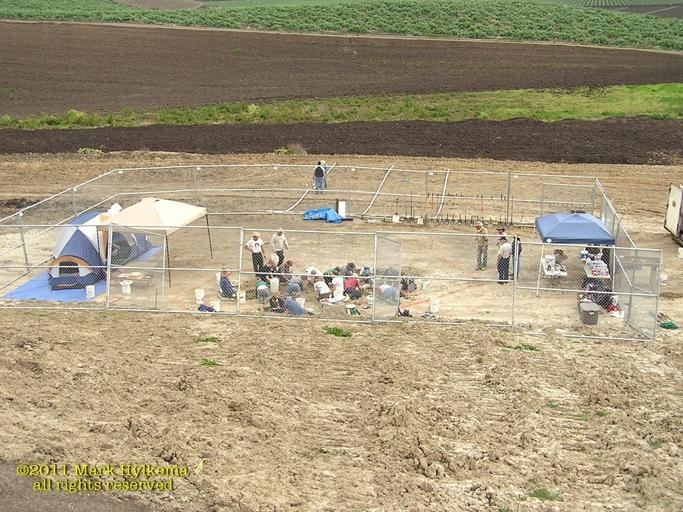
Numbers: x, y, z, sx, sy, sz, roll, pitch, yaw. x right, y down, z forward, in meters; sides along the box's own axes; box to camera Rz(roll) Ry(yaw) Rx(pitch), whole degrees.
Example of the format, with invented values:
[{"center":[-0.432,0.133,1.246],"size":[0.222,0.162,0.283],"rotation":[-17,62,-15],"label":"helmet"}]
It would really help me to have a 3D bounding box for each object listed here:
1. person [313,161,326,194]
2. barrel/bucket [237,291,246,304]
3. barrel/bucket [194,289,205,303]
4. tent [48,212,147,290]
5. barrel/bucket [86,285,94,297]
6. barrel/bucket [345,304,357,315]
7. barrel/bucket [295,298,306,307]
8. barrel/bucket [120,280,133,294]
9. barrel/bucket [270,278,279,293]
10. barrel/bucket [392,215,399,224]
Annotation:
[{"center":[-1.090,-3.964,49.871],"size":[0.541,1.579,0.934],"rotation":[1,11,-2],"label":"person"},{"center":[-3.833,1.583,38.633],"size":[0.432,0.479,0.405],"rotation":[0,3,0],"label":"barrel/bucket"},{"center":[-5.489,1.490,38.932],"size":[0.363,0.557,0.824],"rotation":[-1,11,-8],"label":"barrel/bucket"},{"center":[-9.947,-0.315,41.199],"size":[2.722,2.015,3.930],"rotation":[6,20,12],"label":"tent"},{"center":[-9.849,1.358,39.353],"size":[0.439,0.481,0.408],"rotation":[0,7,0],"label":"barrel/bucket"},{"center":[0.403,2.023,38.174],"size":[0.516,0.359,0.390],"rotation":[1,11,1],"label":"barrel/bucket"},{"center":[-1.589,1.725,38.479],"size":[0.295,0.207,0.298],"rotation":[0,3,0],"label":"barrel/bucket"},{"center":[-8.381,1.185,39.161],"size":[0.515,0.446,0.483],"rotation":[0,6,0],"label":"barrel/bucket"},{"center":[-2.624,1.144,39.110],"size":[0.547,0.546,0.512],"rotation":[0,8,0],"label":"barrel/bucket"},{"center":[2.506,-1.760,46.436],"size":[0.428,0.374,0.292],"rotation":[2,23,3],"label":"barrel/bucket"}]
